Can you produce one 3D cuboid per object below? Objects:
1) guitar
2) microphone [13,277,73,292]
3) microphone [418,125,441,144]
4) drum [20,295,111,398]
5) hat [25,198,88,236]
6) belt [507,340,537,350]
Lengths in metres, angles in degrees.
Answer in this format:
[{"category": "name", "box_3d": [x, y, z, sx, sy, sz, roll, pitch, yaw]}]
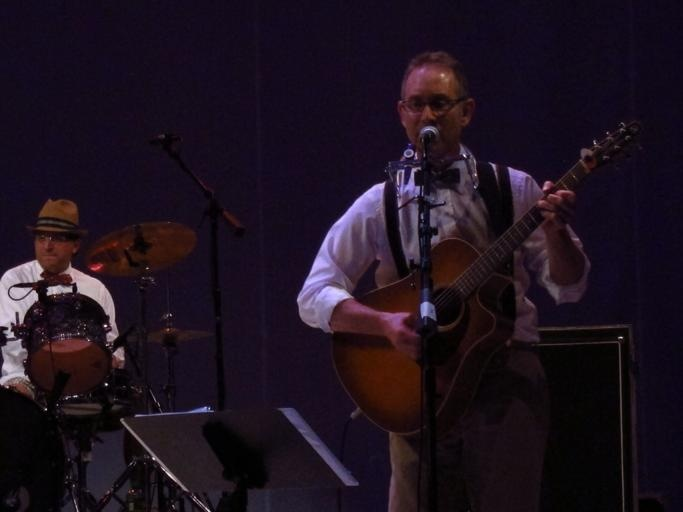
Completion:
[{"category": "guitar", "box_3d": [0.741, 0.240, 4.821, 0.899, 2.192, 0.301, 42, 5, 18]}, {"category": "microphone", "box_3d": [-1.907, 0.184, 5.939, 0.275, 0.077, 0.171, -1, -11, -37]}, {"category": "microphone", "box_3d": [0.425, -0.582, 4.432, 0.089, 0.082, 0.110, -2, -2, 3]}, {"category": "drum", "box_3d": [-1.774, 0.578, 5.947, 0.563, 0.672, 0.423, -1, -2, -21]}, {"category": "hat", "box_3d": [-2.115, -0.281, 6.829, 0.480, 0.290, 0.478, 3, -10, -20]}, {"category": "belt", "box_3d": [0.878, 0.440, 4.468, 0.099, 0.028, 0.065, 25, -3, -13]}]
